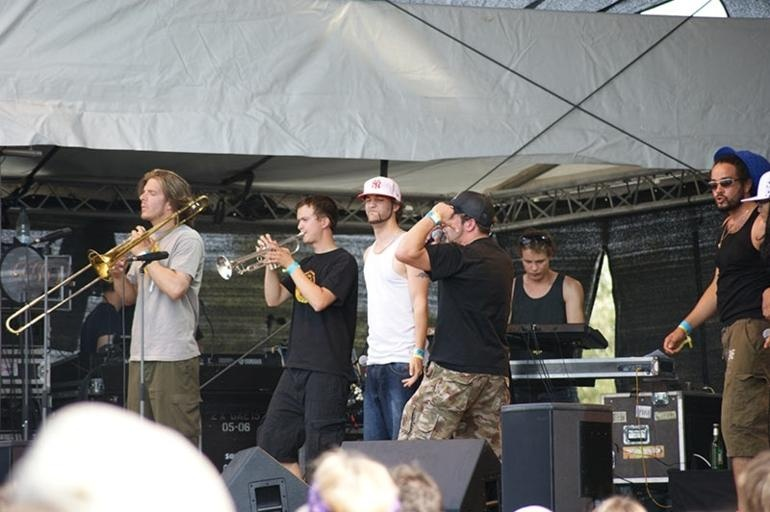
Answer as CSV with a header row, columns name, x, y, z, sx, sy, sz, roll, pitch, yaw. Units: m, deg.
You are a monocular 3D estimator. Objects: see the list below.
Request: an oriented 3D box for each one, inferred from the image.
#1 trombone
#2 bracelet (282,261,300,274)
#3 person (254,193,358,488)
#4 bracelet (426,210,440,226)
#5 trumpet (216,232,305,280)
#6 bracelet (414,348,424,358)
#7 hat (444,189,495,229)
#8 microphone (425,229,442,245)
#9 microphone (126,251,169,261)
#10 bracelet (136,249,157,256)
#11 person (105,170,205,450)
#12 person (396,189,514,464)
name,x,y,z,sx,sy,sz,roll,pitch,yaw
trombone,-2.773,0.136,15.607,2.420,0.349,0.462,-26,-27,13
bracelet,-0.851,0.133,14.488,0.123,0.047,0.118,-36,15,-25
person,-0.744,0.755,14.528,0.986,2.408,1.005,8,7,37
bracelet,0.432,-0.307,14.021,0.156,0.108,0.138,2,-2,7
trumpet,-1.262,0.037,15.811,0.880,0.305,0.256,-17,10,0
bracelet,0.307,0.884,14.306,0.092,0.056,0.080,2,-4,-6
hat,0.726,-0.423,14.168,0.527,0.244,0.320,22,-1,-3
microphone,0.448,-0.131,14.507,0.106,0.151,0.064,29,4,21
microphone,-2.148,0.038,14.382,0.404,0.096,0.110,0,16,-33
bracelet,-2.165,0.001,14.523,0.064,0.070,0.286,0,-1,25
person,-2.111,0.800,14.817,0.943,2.976,1.215,2,-1,-33
person,0.461,0.929,14.158,1.021,2.748,1.430,4,4,37
